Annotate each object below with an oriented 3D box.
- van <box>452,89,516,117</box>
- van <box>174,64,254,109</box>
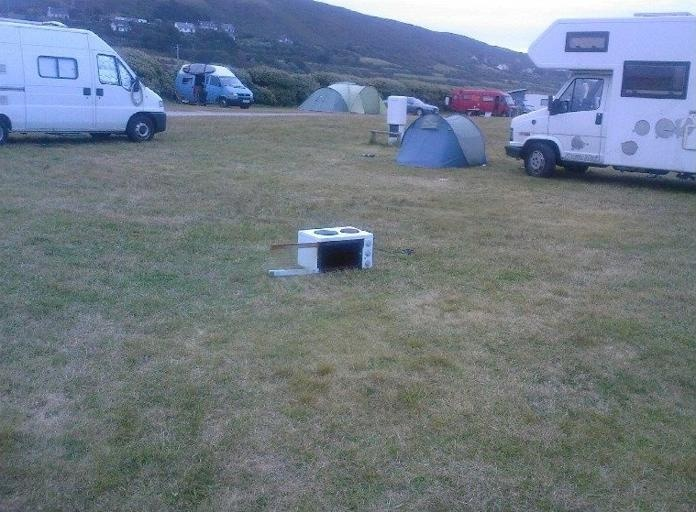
[{"bbox_3d":[11.553,-13.261,42.758,5.888,2.542,2.442,11,27,28],"label":"van"},{"bbox_3d":[-8.080,-10.344,30.483,5.556,2.915,2.682,13,24,31],"label":"van"}]
